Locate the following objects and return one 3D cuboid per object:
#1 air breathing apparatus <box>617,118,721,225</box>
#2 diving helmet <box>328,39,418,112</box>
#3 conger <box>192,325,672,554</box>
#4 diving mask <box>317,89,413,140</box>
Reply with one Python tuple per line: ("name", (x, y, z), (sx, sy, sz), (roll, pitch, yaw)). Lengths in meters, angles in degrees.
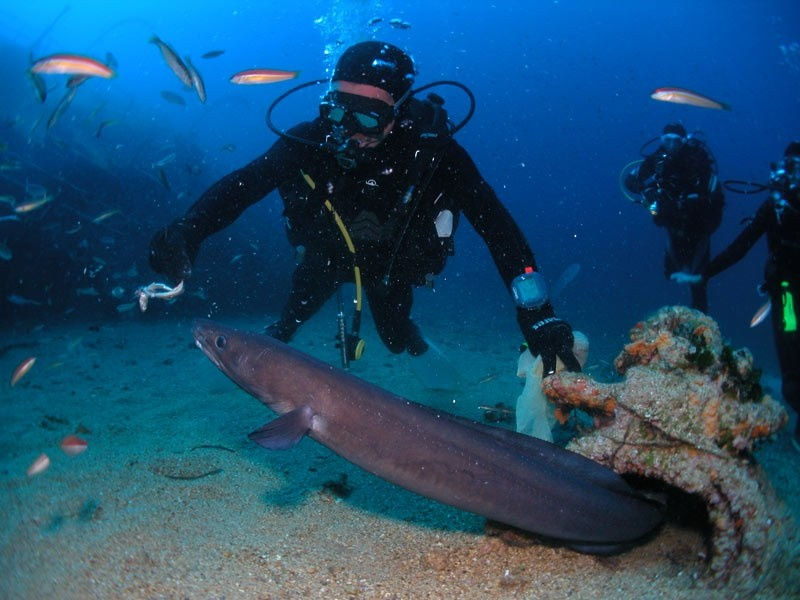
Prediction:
("air breathing apparatus", (7.180, -3.353, 18.376), (1.305, 2.292, 2.924), (19, 42, -45))
("diving helmet", (-0.458, -4.340, 13.560), (1.158, 0.778, 1.317), (22, 19, 0))
("conger", (0.173, 2.306, 11.839), (8.506, 1.913, 1.656), (23, 20, 11))
("diving mask", (-0.765, -3.492, 13.219), (1.471, 0.805, 0.425), (1, 14, -8))
